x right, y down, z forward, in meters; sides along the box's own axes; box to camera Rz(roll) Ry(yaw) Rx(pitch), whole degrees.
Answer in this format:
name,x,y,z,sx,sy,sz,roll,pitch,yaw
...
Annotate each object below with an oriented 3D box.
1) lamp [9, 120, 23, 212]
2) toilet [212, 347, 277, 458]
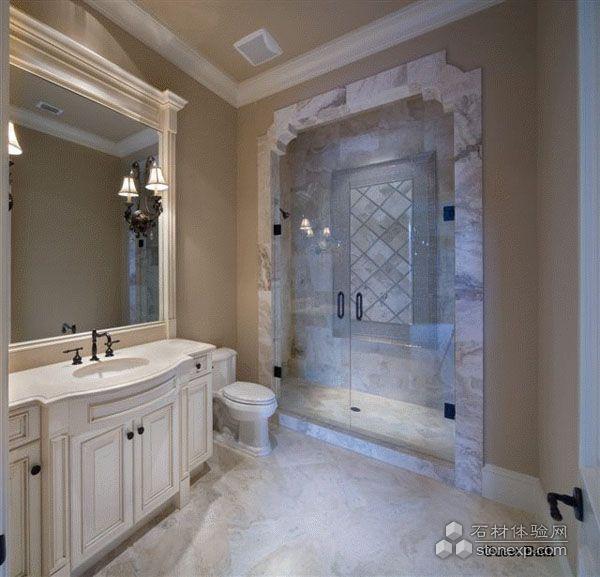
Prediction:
name,x,y,z,sx,sy,sz,roll,pitch,yaw
lamp,-1.437,-0.615,2.464,0.059,0.512,0.054,-1,0,-19
toilet,-0.409,0.759,3.372,0.571,0.669,0.323,4,7,34
